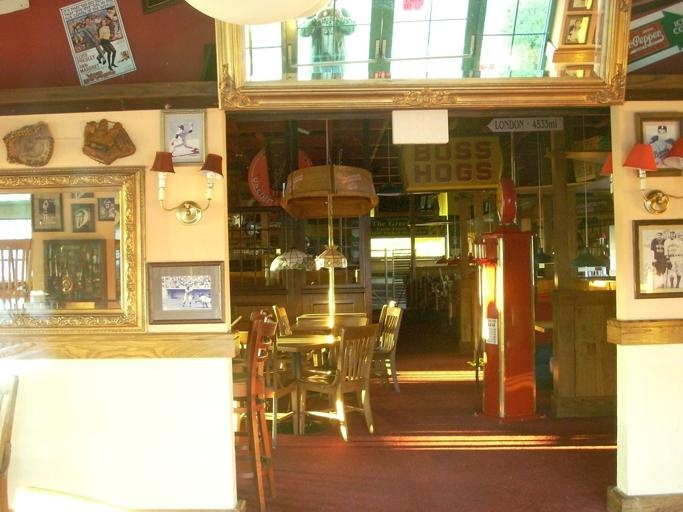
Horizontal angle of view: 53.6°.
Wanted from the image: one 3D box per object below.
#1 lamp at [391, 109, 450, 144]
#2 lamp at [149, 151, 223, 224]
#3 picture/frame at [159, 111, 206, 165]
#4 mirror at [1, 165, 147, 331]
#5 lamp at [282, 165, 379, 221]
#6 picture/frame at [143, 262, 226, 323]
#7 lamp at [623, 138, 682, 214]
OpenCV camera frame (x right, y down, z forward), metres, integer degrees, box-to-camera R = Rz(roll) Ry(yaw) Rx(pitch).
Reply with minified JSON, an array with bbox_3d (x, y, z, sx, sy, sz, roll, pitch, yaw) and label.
[{"bbox_3d":[0.559,-1.007,5.203,0.448,0.254,0.292,0,26,-2],"label":"lamp"},{"bbox_3d":[-1.125,-0.511,4.975,0.475,0.453,0.239,0,-10,-7],"label":"lamp"},{"bbox_3d":[-1.186,-0.871,4.991,0.394,0.501,0.027,0,0,-4],"label":"picture/frame"},{"bbox_3d":[-1.935,-0.051,5.007,1.162,1.039,0.054,0,-4,-1],"label":"mirror"},{"bbox_3d":[-0.128,-0.627,6.618,0.936,0.516,1.068,-2,7,-4],"label":"lamp"},{"bbox_3d":[-1.181,0.279,5.002,0.422,0.372,0.031,-1,-5,-2],"label":"picture/frame"},{"bbox_3d":[2.339,-0.591,5.057,0.472,0.559,0.210,-2,7,1],"label":"lamp"}]
